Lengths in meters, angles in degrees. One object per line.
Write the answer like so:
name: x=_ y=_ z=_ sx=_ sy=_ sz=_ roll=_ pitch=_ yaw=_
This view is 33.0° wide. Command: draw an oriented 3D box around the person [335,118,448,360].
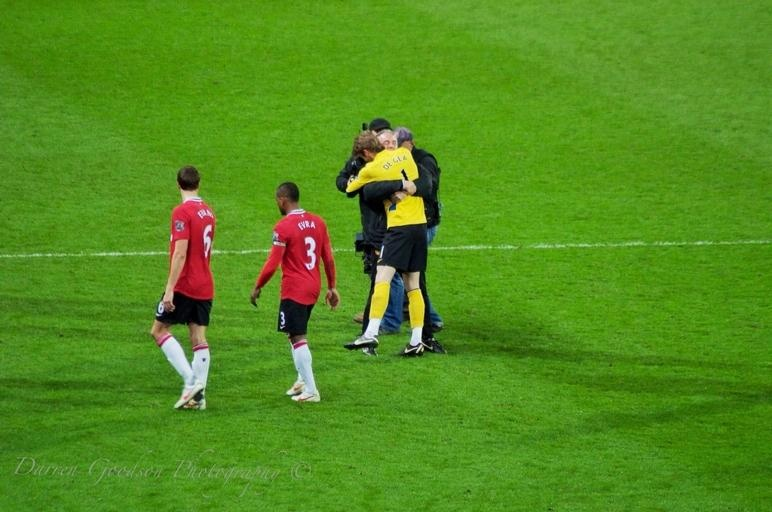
person: x=0.120 y=-0.156 z=17.654 sx=1.345 sy=3.005 sz=0.515 roll=4 pitch=3 yaw=-3

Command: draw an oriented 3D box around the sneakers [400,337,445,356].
sneakers: x=0.439 y=1.248 z=17.698 sx=0.698 sy=0.256 sz=0.221 roll=7 pitch=-8 yaw=-19

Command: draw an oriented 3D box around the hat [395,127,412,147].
hat: x=0.194 y=-1.648 z=18.046 sx=0.224 sy=0.251 sz=0.285 roll=4 pitch=8 yaw=26

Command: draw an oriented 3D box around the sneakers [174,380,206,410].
sneakers: x=-2.385 y=1.777 z=16.255 sx=0.534 sy=0.225 sz=0.189 roll=-31 pitch=-43 yaw=21

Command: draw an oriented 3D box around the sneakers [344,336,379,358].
sneakers: x=-0.230 y=1.229 z=17.573 sx=0.610 sy=0.246 sz=0.193 roll=3 pitch=-32 yaw=18

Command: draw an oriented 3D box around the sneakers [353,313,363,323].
sneakers: x=-0.400 y=0.914 z=18.731 sx=0.152 sy=0.094 sz=0.088 roll=5 pitch=7 yaw=44

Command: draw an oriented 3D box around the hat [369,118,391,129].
hat: x=-0.119 y=-1.803 z=18.016 sx=0.224 sy=0.123 sz=0.268 roll=-4 pitch=9 yaw=-18

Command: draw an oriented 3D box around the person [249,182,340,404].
person: x=-1.151 y=0.468 z=16.554 sx=1.107 sy=2.762 sz=0.533 roll=3 pitch=4 yaw=-13

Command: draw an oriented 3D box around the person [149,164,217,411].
person: x=-2.505 y=0.400 z=16.304 sx=0.724 sy=3.026 sz=0.448 roll=4 pitch=3 yaw=-8

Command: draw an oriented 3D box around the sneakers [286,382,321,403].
sneakers: x=-1.049 y=1.744 z=16.544 sx=0.516 sy=0.203 sz=0.179 roll=3 pitch=9 yaw=16
